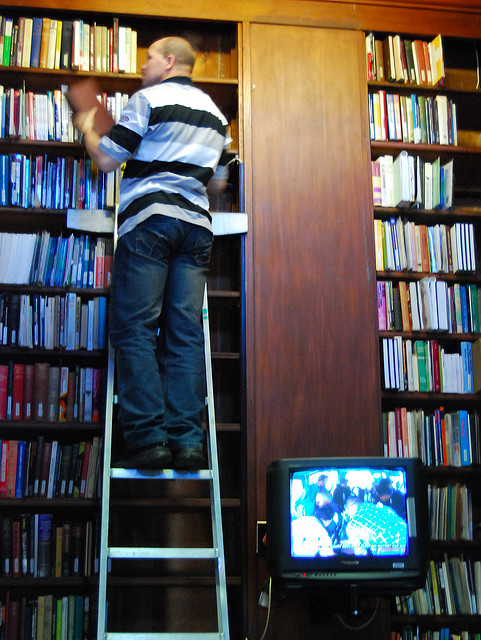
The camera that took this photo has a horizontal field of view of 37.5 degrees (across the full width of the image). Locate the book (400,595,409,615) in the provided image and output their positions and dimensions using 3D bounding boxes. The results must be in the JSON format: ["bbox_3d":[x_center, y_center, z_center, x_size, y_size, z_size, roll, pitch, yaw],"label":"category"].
[{"bbox_3d":[0.619,1.087,2.680,0.029,0.063,0.016,-2,-6,8],"label":"book"}]

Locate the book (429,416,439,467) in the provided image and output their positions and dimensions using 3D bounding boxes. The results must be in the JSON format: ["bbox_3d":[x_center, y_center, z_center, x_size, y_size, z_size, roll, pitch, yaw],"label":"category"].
[{"bbox_3d":[0.766,0.489,2.819,0.024,0.145,0.118,0,1,10],"label":"book"}]

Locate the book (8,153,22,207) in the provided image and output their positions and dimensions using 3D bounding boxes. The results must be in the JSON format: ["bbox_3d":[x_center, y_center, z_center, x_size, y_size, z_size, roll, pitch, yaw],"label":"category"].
[{"bbox_3d":[-0.881,-0.554,2.766,0.028,0.169,0.104,2,2,-5],"label":"book"}]

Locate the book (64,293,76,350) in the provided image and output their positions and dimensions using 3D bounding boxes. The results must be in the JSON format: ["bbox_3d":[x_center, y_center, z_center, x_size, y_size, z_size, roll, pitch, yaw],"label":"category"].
[{"bbox_3d":[-0.642,0.001,2.688,0.034,0.216,0.030,0,-6,-13],"label":"book"}]

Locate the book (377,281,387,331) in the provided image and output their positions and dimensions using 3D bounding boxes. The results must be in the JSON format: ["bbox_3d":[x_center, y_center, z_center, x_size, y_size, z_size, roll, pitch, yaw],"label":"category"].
[{"bbox_3d":[0.575,-0.059,2.883,0.032,0.208,0.055,-3,-7,13],"label":"book"}]

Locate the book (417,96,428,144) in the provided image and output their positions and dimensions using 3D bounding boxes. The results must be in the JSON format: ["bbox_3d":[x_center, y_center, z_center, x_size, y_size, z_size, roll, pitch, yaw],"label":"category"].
[{"bbox_3d":[0.786,-0.872,3.059,0.037,0.211,0.016,-2,-6,3],"label":"book"}]

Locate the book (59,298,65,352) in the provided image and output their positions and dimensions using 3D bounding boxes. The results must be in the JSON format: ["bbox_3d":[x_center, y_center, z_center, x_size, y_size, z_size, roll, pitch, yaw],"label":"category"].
[{"bbox_3d":[-0.674,0.017,2.674,0.017,0.214,0.059,0,-7,-13],"label":"book"}]

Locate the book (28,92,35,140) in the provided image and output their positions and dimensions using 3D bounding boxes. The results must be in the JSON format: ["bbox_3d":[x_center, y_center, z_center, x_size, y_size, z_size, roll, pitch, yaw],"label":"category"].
[{"bbox_3d":[-0.821,-0.814,2.783,0.024,0.144,0.119,0,2,-9],"label":"book"}]

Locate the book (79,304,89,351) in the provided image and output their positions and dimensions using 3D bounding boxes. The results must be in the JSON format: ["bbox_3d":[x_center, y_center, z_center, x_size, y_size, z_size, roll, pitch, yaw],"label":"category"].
[{"bbox_3d":[-0.596,0.025,2.698,0.021,0.129,0.107,1,1,-11],"label":"book"}]

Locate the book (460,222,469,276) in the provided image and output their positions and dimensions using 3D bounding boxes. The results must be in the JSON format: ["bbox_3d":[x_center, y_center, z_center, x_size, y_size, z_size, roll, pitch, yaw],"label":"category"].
[{"bbox_3d":[0.936,-0.299,2.967,0.029,0.156,0.095,0,-6,9],"label":"book"}]

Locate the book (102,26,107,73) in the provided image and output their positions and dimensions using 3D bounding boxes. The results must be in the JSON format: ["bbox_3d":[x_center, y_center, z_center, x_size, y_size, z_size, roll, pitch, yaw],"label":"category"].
[{"bbox_3d":[-0.549,-1.104,2.869,0.019,0.205,0.027,1,-7,-17],"label":"book"}]

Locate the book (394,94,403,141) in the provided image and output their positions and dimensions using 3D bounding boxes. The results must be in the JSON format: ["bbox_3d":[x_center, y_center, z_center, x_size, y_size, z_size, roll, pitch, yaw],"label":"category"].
[{"bbox_3d":[0.677,-0.877,3.044,0.025,0.150,0.124,-1,2,14],"label":"book"}]

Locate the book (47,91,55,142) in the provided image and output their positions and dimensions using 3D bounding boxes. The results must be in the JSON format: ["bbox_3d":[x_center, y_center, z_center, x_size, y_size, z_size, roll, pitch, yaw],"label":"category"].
[{"bbox_3d":[-0.748,-0.811,2.798,0.028,0.206,0.019,1,-7,-20],"label":"book"}]

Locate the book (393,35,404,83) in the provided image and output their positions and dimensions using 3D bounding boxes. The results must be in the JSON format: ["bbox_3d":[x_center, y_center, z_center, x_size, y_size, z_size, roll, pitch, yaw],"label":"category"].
[{"bbox_3d":[0.682,-1.140,3.072,0.038,0.212,0.032,-2,-6,8],"label":"book"}]

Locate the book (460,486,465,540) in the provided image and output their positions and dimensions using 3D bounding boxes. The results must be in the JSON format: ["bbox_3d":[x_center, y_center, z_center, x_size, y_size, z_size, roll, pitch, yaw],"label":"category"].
[{"bbox_3d":[0.873,0.768,2.799,0.019,0.191,0.031,-4,-7,26],"label":"book"}]

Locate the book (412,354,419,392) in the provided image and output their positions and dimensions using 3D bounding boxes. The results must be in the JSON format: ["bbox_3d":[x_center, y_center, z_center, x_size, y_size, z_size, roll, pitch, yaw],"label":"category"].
[{"bbox_3d":[0.706,0.221,2.859,0.016,0.102,0.084,-1,-1,11],"label":"book"}]

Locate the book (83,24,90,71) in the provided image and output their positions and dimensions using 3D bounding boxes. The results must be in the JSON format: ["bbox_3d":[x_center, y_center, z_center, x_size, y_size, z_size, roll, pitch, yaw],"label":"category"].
[{"bbox_3d":[-0.621,-1.108,2.851,0.026,0.149,0.129,2,16,-7],"label":"book"}]

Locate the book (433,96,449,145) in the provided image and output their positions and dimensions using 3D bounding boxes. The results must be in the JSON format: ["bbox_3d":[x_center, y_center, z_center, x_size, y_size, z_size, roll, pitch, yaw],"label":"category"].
[{"bbox_3d":[0.863,-0.872,3.065,0.065,0.223,0.037,-3,-6,11],"label":"book"}]

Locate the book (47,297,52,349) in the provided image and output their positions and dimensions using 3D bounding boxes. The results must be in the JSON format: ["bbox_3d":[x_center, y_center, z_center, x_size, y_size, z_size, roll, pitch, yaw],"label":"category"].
[{"bbox_3d":[-0.722,0.019,2.680,0.016,0.200,0.128,0,-10,-12],"label":"book"}]

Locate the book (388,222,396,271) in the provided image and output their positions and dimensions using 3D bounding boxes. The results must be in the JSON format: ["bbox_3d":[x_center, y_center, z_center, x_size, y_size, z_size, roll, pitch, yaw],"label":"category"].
[{"bbox_3d":[0.624,-0.299,2.933,0.013,0.233,0.141,-6,-8,7],"label":"book"}]

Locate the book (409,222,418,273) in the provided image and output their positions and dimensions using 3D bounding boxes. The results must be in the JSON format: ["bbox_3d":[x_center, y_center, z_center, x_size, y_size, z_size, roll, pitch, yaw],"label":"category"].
[{"bbox_3d":[0.719,-0.306,2.943,0.027,0.161,0.129,1,2,7],"label":"book"}]

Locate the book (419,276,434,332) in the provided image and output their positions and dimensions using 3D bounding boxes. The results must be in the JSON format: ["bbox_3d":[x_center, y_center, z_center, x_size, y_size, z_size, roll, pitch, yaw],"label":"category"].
[{"bbox_3d":[0.759,-0.065,2.897,0.036,0.168,0.106,-5,13,10],"label":"book"}]

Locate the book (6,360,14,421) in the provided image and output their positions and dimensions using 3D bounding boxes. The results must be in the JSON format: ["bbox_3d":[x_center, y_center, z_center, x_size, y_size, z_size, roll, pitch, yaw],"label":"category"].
[{"bbox_3d":[-0.854,0.264,2.626,0.026,0.157,0.130,1,16,-11],"label":"book"}]

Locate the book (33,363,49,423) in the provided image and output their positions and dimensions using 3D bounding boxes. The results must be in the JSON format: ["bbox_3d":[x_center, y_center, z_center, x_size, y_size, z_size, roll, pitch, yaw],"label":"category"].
[{"bbox_3d":[-0.739,0.281,2.627,0.044,0.161,0.142,1,-14,-9],"label":"book"}]

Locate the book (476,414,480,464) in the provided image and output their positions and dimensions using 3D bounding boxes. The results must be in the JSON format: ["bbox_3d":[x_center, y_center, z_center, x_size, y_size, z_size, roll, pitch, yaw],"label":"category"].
[{"bbox_3d":[0.949,0.482,2.845,0.011,0.189,0.037,-4,-7,21],"label":"book"}]

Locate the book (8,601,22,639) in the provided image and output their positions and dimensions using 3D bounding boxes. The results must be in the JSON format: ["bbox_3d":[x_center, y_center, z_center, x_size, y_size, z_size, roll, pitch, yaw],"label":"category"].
[{"bbox_3d":[-0.793,1.066,2.490,0.027,0.100,0.088,1,-12,-8],"label":"book"}]

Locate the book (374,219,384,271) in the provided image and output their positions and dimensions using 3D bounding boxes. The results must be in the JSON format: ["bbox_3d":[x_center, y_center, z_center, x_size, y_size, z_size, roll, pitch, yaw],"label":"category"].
[{"bbox_3d":[0.562,-0.318,2.908,0.027,0.165,0.133,0,-7,9],"label":"book"}]

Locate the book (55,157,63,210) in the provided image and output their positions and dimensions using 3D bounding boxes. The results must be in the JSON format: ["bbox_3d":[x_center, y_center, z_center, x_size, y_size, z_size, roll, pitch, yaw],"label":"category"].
[{"bbox_3d":[-0.716,-0.534,2.792,0.018,0.256,0.155,1,-4,-12],"label":"book"}]

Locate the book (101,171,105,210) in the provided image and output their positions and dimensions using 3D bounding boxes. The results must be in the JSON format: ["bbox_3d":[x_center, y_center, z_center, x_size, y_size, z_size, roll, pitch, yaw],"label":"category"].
[{"bbox_3d":[-0.543,-0.515,2.799,0.012,0.149,0.027,0,-6,-12],"label":"book"}]

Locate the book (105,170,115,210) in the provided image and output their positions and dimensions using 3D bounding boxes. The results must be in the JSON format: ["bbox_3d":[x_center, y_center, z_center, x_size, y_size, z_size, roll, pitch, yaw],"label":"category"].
[{"bbox_3d":[-0.513,-0.513,2.784,0.043,0.147,0.035,-2,-6,8],"label":"book"}]

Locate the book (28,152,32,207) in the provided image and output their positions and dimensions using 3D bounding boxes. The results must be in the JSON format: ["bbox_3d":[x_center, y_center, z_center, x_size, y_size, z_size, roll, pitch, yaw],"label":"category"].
[{"bbox_3d":[-0.829,-0.551,2.794,0.013,0.223,0.047,1,-7,-18],"label":"book"}]

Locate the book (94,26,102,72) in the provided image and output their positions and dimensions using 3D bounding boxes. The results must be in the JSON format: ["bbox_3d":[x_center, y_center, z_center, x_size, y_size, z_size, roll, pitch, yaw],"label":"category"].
[{"bbox_3d":[-0.574,-1.106,2.867,0.027,0.202,0.028,0,-6,-14],"label":"book"}]

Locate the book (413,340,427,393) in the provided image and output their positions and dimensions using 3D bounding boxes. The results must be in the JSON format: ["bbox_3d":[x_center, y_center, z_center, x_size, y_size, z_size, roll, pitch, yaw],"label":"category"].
[{"bbox_3d":[0.730,0.188,2.870,0.026,0.156,0.127,1,-1,6],"label":"book"}]
